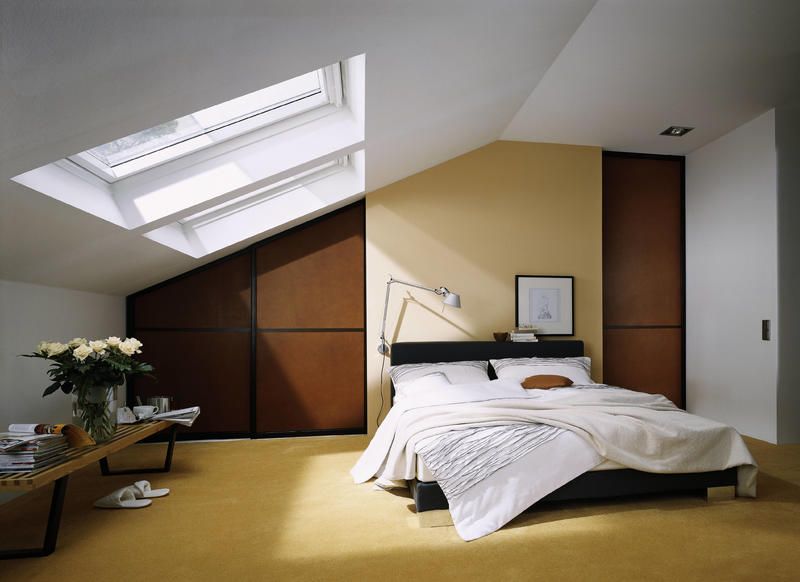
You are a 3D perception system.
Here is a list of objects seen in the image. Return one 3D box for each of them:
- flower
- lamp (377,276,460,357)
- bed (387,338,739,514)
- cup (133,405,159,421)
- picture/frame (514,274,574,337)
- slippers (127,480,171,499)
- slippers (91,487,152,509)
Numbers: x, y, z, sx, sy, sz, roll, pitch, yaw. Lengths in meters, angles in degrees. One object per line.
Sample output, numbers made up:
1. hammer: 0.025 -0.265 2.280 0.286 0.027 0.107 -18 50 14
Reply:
1. flower: -2.220 0.372 4.063 0.618 0.399 0.613 1 2 25
2. lamp: 0.209 0.331 5.871 0.847 0.974 0.273 10 -30 -3
3. bed: 1.166 1.044 5.038 2.419 0.902 2.194 -1 4 -8
4. cup: -2.119 1.017 4.702 0.109 0.103 0.144 -9 -14 36
5. picture/frame: 1.554 0.183 6.182 0.657 0.686 0.046 1 -5 -9
6. slippers: -1.902 1.507 4.275 0.312 0.097 0.117 1 -2 5
7. slippers: -2.015 1.513 4.121 0.311 0.092 0.162 3 -5 1
